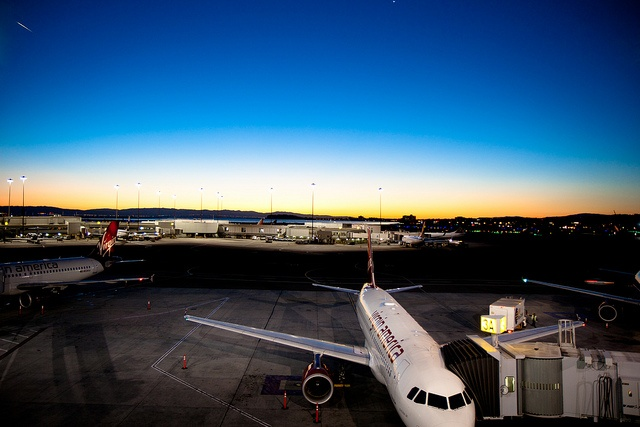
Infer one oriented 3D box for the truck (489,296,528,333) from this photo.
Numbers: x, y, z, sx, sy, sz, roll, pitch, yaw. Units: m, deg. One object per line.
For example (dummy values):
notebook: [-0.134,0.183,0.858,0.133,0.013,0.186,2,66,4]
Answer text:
truck: [18.614,9.962,43.123,2.661,2.126,4.379,2,5,24]
